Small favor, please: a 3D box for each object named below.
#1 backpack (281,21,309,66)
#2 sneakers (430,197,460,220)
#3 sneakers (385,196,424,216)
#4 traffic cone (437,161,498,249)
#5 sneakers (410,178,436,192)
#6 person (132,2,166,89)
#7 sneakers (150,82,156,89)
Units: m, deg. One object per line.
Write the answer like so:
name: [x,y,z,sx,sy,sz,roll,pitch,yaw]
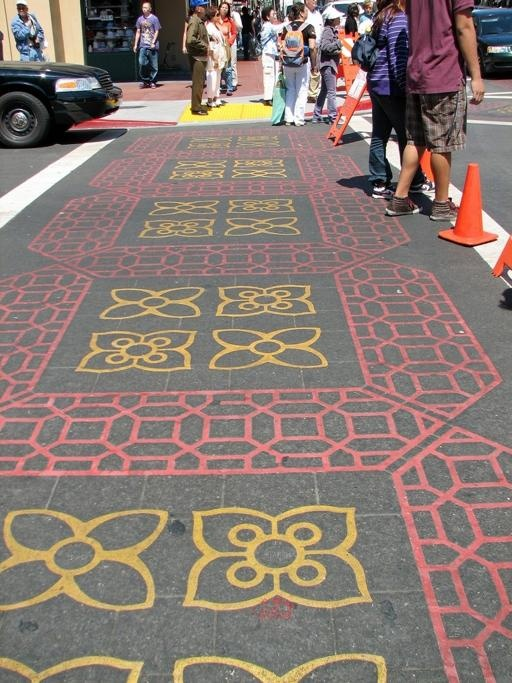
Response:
backpack: [0.714,-5.583,10.762,0.551,0.734,0.421,8,35,11]
sneakers: [1.977,-1.349,5.814,0.387,0.224,0.148,-12,31,-18]
sneakers: [1.593,-1.452,6.062,0.439,0.197,0.171,-13,32,-24]
traffic cone: [1.978,-1.228,5.157,0.514,0.670,0.454,10,28,15]
sneakers: [2.017,-1.877,6.883,0.344,0.142,0.132,-5,33,-2]
person: [-3.341,-8.987,17.368,0.737,2.323,1.304,-4,27,-11]
sneakers: [-3.252,-7.981,17.799,0.150,0.149,0.362,-2,35,-6]
